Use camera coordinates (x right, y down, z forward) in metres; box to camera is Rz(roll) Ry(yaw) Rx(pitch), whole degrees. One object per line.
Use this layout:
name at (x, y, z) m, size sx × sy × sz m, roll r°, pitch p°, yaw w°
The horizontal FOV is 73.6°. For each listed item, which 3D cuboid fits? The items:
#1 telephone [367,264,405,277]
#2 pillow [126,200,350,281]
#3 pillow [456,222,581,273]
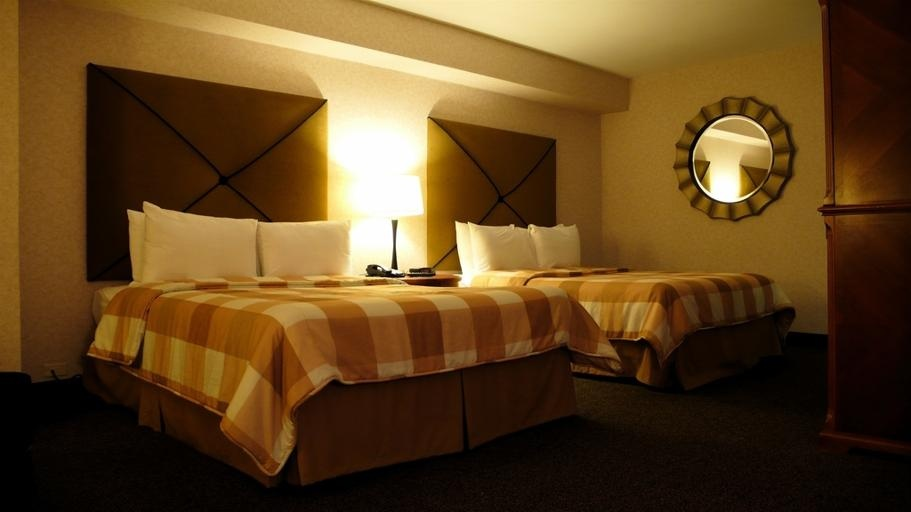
telephone at (-0.662, 0.157, 5.881) m, size 0.397 × 0.139 × 0.144 m, roll -1°, pitch -2°, yaw 2°
pillow at (-1.827, -0.133, 5.307) m, size 1.745 × 0.665 × 0.547 m, roll -3°, pitch 5°, yaw -31°
pillow at (0.731, -0.092, 6.680) m, size 1.343 × 0.553 × 0.551 m, roll -3°, pitch 4°, yaw -29°
